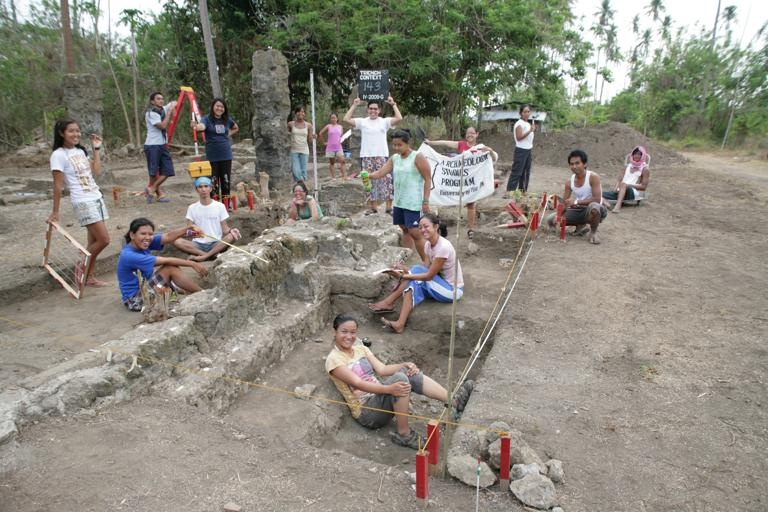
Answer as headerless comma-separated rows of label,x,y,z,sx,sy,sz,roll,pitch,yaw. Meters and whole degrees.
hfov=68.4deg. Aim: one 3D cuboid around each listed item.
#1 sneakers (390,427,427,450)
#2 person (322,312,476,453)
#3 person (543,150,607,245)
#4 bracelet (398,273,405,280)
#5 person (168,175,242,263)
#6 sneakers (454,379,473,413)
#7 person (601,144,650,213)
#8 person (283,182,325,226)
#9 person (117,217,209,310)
sneakers,0.311,2.215,6.921,0.407,0.198,0.220,-1,1,17
person,0.208,1.512,7.050,1.850,1.511,0.847,-1,10,17
person,3.535,-1.093,10.188,0.880,1.543,1.012,-10,13,-16
bracelet,0.264,0.296,8.277,0.077,0.118,0.069,-1,19,3
person,-2.716,-0.475,8.883,1.313,1.685,1.160,-3,18,-16
sneakers,1.010,1.748,7.121,0.141,0.181,0.467,14,57,12
person,4.992,-1.607,11.944,1.191,1.323,0.812,0,13,-14
person,-1.378,-0.941,9.798,0.503,0.734,0.707,7,20,16
person,-2.928,-0.005,8.099,1.416,1.235,0.906,-1,36,-15
